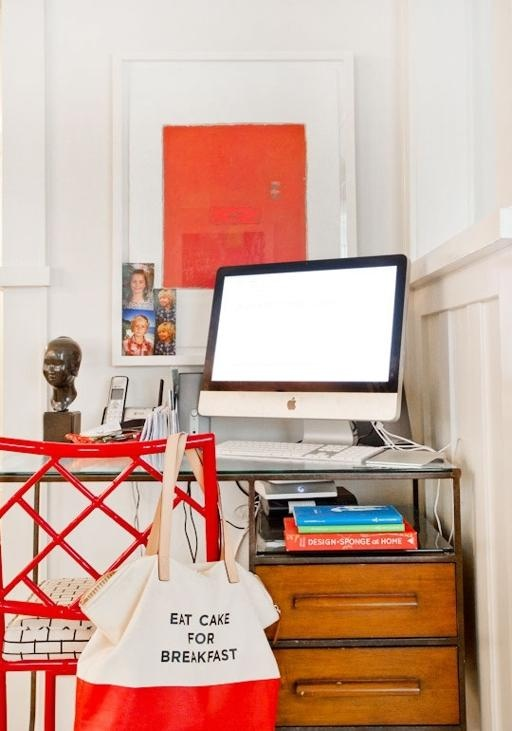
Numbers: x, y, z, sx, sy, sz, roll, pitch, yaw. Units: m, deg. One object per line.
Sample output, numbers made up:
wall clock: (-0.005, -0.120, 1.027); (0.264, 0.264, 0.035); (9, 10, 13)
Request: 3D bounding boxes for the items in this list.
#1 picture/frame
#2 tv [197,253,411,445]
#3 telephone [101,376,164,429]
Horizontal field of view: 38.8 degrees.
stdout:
picture/frame: (-0.058, -0.431, 2.043); (0.846, 1.097, 0.055); (-1, -2, -3)
tv: (0.129, -0.034, 1.781); (0.516, 0.406, 0.056); (0, -19, 25)
telephone: (-0.337, 0.109, 2.034); (0.119, 0.168, 0.167); (3, -4, -2)
